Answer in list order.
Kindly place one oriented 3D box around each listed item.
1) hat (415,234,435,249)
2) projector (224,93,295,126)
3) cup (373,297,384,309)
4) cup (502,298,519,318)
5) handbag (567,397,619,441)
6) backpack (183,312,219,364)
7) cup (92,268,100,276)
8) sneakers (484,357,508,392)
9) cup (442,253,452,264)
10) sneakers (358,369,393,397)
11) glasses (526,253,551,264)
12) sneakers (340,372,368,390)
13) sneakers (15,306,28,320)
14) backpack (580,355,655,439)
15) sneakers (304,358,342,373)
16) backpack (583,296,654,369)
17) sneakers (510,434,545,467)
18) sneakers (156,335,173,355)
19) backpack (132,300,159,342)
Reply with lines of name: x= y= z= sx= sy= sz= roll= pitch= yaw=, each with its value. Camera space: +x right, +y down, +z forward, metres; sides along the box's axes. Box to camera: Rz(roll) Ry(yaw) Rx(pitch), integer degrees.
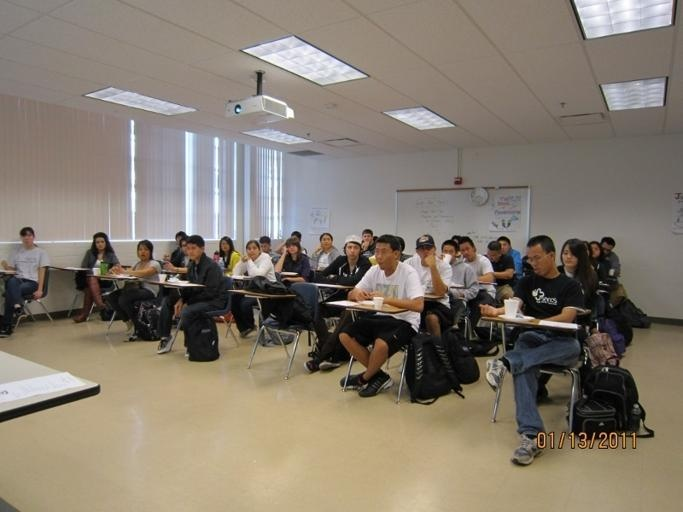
hat: x=0.923 y=-0.156 z=5.039 sx=0.172 sy=0.129 sz=0.248 roll=-13 pitch=-16 yaw=10
projector: x=-0.970 y=-1.728 z=5.389 sx=0.636 sy=0.285 sz=0.411 roll=5 pitch=8 yaw=34
cup: x=0.337 y=0.424 z=4.150 sx=0.095 sy=0.072 sz=0.095 roll=0 pitch=0 yaw=0
cup: x=1.380 y=0.414 z=3.686 sx=0.117 sy=0.145 sz=0.239 roll=3 pitch=7 yaw=20
handbag: x=2.134 y=1.305 z=3.718 sx=0.411 sy=0.275 sz=0.374 roll=-8 pitch=-1 yaw=22
backpack: x=-1.678 y=0.996 z=5.549 sx=0.378 sy=0.510 sz=0.287 roll=-5 pitch=21 yaw=-32
cup: x=-3.476 y=0.225 z=6.454 sx=0.089 sy=0.066 sz=0.050 roll=8 pitch=11 yaw=33
sneakers: x=1.297 y=1.045 z=3.903 sx=0.167 sy=0.365 sz=0.145 roll=-31 pitch=35 yaw=-18
cup: x=1.328 y=0.026 z=5.741 sx=0.102 sy=0.136 sz=0.146 roll=0 pitch=-2 yaw=-22
sneakers: x=0.338 y=1.252 z=4.552 sx=0.394 sy=0.168 sz=0.152 roll=-18 pitch=9 yaw=-39
glasses: x=1.713 y=0.024 z=3.939 sx=0.135 sy=0.108 sz=0.111 roll=-1 pitch=-5 yaw=-16
sneakers: x=0.122 y=1.246 z=4.602 sx=0.302 sy=0.128 sz=0.110 roll=2 pitch=4 yaw=-9
sneakers: x=-4.622 y=0.812 z=6.628 sx=0.165 sy=0.188 sz=0.445 roll=-5 pitch=-9 yaw=-42
backpack: x=2.180 y=1.195 z=3.717 sx=0.559 sy=0.498 sz=0.544 roll=4 pitch=12 yaw=39
sneakers: x=-0.209 y=1.188 z=5.175 sx=0.409 sy=0.173 sz=0.137 roll=-4 pitch=5 yaw=-14
backpack: x=3.325 y=0.925 z=5.472 sx=0.749 sy=0.417 sz=0.979 roll=-2 pitch=14 yaw=3
sneakers: x=1.415 y=1.435 z=3.441 sx=0.131 sy=0.142 sz=0.311 roll=-5 pitch=-3 yaw=44
sneakers: x=-2.228 y=1.108 z=5.736 sx=0.122 sy=0.105 sz=0.253 roll=-1 pitch=8 yaw=-5
backpack: x=-2.681 y=0.887 z=6.354 sx=0.383 sy=0.537 sz=0.281 roll=-6 pitch=5 yaw=43
